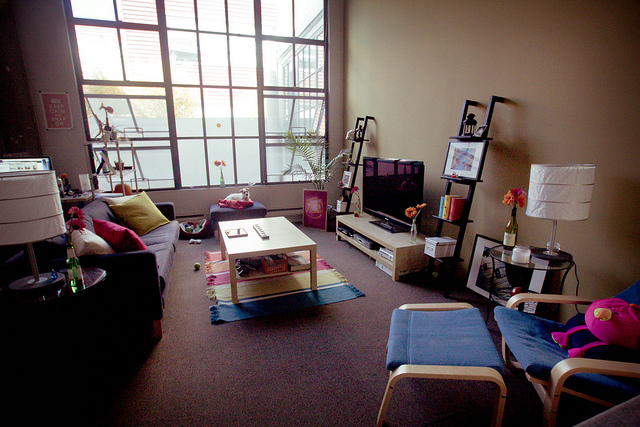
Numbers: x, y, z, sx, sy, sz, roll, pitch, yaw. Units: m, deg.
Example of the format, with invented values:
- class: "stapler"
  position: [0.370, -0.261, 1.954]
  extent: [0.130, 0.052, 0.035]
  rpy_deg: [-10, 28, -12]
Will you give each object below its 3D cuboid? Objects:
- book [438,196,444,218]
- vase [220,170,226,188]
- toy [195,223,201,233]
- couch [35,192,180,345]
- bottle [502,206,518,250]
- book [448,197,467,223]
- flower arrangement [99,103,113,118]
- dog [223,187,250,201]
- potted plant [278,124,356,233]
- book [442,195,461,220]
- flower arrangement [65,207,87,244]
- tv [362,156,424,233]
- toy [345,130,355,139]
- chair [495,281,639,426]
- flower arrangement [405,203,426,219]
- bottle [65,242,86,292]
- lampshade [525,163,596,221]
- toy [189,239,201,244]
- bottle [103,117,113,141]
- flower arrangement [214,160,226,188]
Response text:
- class: "book"
  position: [1.371, -0.080, 4.769]
  extent: [0.038, 0.158, 0.159]
  rpy_deg: [6, 11, 25]
- class: "vase"
  position: [-1.613, -0.594, 6.996]
  extent: [0.093, 0.277, 0.237]
  rpy_deg: [-4, 16, -13]
- class: "toy"
  position: [-1.867, 0.218, 6.468]
  extent: [0.084, 0.084, 0.255]
  rpy_deg: [-4, 15, -12]
- class: "couch"
  position: [-2.270, 0.393, 4.910]
  extent: [1.041, 0.989, 2.639]
  rpy_deg: [-3, 13, -15]
- class: "bottle"
  position: [1.890, 0.126, 4.180]
  extent: [0.104, 0.424, 0.224]
  rpy_deg: [6, 17, 23]
- class: "book"
  position: [1.506, -0.043, 4.611]
  extent: [0.267, 0.252, 0.092]
  rpy_deg: [2, 15, -30]
- class: "flower arrangement"
  position: [-3.019, -1.474, 6.015]
  extent: [0.137, 0.184, 0.471]
  rpy_deg: [-8, 16, -24]
- class: "dog"
  position: [-1.346, -0.290, 6.648]
  extent: [0.479, 0.235, 0.189]
  rpy_deg: [-2, 19, -3]
- class: "potted plant"
  position: [-0.054, -0.697, 7.230]
  extent: [1.308, 1.620, 1.124]
  rpy_deg: [-1, 15, 1]
- class: "book"
  position: [1.455, -0.063, 4.662]
  extent: [0.234, 0.215, 0.237]
  rpy_deg: [2, 6, 24]
- class: "flower arrangement"
  position: [-2.172, 0.099, 3.760]
  extent: [0.155, 0.319, 0.413]
  rpy_deg: [-10, 18, -30]
- class: "tv"
  position: [0.943, -0.292, 5.579]
  extent: [0.162, 0.887, 1.254]
  rpy_deg: [-7, 13, -26]
- class: "toy"
  position: [0.501, -1.265, 6.719]
  extent: [0.170, 0.176, 0.156]
  rpy_deg: [13, 18, 32]
- class: "chair"
  position: [2.096, 1.175, 3.728]
  extent: [1.279, 1.185, 0.960]
  rpy_deg: [-7, 17, 9]
- class: "flower arrangement"
  position: [1.116, -0.041, 5.037]
  extent: [0.133, 0.100, 0.220]
  rpy_deg: [18, 34, 31]
- class: "bottle"
  position: [-2.102, 0.432, 3.610]
  extent: [0.128, 0.370, 0.401]
  rpy_deg: [-11, 18, -31]
- class: "lampshade"
  position: [2.103, -0.210, 3.851]
  extent: [0.513, 0.539, 0.550]
  rpy_deg: [-4, 14, -35]
- class: "toy"
  position: [-1.817, 0.407, 6.155]
  extent: [0.172, 0.034, 0.135]
  rpy_deg: [-1, 15, -2]
- class: "bottle"
  position: [-2.972, -1.204, 5.927]
  extent: [0.109, 0.282, 0.351]
  rpy_deg: [-8, 17, -25]
- class: "flower arrangement"
  position: [-1.608, -0.670, 6.916]
  extent: [0.146, 0.464, 0.341]
  rpy_deg: [-1, 15, -2]
